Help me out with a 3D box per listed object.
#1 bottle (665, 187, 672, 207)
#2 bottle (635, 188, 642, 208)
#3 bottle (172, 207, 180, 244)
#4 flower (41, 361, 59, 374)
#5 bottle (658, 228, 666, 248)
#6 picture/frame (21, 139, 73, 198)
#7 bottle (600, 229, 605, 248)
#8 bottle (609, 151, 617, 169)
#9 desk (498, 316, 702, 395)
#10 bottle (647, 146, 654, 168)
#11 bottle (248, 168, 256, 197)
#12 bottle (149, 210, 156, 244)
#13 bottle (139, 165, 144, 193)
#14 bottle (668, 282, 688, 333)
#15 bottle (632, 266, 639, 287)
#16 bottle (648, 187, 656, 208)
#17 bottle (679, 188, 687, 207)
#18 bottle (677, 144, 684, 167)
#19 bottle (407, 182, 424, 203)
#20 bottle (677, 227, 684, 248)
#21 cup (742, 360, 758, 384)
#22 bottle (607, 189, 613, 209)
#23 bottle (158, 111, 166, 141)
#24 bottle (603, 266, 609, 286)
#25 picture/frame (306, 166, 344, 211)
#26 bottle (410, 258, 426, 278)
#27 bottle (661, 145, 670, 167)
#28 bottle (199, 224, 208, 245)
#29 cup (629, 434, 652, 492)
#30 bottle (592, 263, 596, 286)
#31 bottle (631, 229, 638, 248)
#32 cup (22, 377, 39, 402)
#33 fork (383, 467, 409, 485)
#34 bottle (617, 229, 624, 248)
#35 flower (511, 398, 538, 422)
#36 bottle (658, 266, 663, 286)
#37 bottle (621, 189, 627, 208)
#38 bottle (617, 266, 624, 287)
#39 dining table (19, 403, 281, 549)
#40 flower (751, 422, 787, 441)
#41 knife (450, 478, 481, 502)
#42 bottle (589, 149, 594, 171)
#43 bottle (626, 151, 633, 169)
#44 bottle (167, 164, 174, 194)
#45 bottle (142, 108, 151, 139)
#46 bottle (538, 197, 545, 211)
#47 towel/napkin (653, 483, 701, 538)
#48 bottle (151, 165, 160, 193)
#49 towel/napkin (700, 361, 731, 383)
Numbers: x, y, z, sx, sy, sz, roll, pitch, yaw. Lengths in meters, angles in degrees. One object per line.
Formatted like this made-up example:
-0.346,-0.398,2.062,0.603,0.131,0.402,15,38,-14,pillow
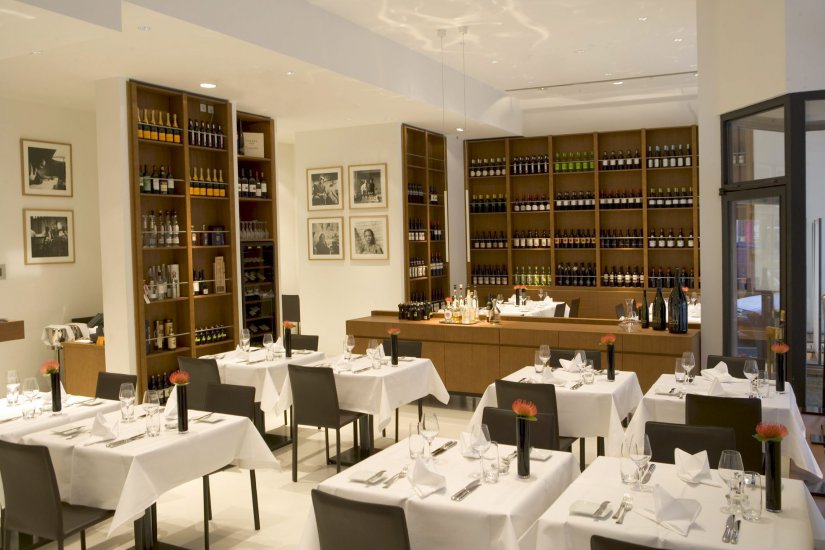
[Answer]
4.845,-1.478,11.529,0.101,0.348,0.204,-3,0,24,bottle
4.356,-1.473,11.700,0.133,0.356,0.234,-3,0,21,bottle
-3.210,-0.630,8.221,0.073,0.435,0.169,-3,0,-9,bottle
-3.235,0.810,5.378,0.133,0.095,0.140,3,-5,-10,flower
4.755,-0.703,11.618,0.211,0.348,0.184,-3,0,24,bottle
-5.342,-1.548,8.780,0.037,0.887,0.844,4,5,29,picture/frame
3.752,-0.728,11.989,0.118,0.362,0.134,-3,0,19,bottle
3.906,-2.233,11.846,0.124,0.347,0.175,-3,0,20,bottle
2.327,1.016,7.893,2.765,1.176,0.656,7,5,-39,desk
4.522,-2.243,11.576,0.150,0.407,0.123,-3,0,-1,bottle
-2.483,-1.369,9.412,0.046,0.362,0.140,-2,0,32,bottle
-3.437,-0.624,8.046,0.077,0.440,0.248,-3,0,-22,bottle
-3.500,-1.249,7.858,0.074,0.362,0.235,-3,0,-23,bottle
3.093,0.377,7.160,0.193,0.616,0.395,-3,0,32,bottle
4.329,0.018,11.799,0.132,0.393,0.225,-3,0,20,bottle
4.568,-1.490,11.631,0.165,0.352,0.147,-3,0,24,bottle
5.085,-1.477,11.462,0.142,0.332,0.181,-3,0,25,bottle
5.028,-2.234,11.426,0.122,0.404,0.069,-3,0,28,bottle
0.029,-1.453,10.775,0.205,0.420,0.406,-2,-3,27,bottle
5.071,-0.698,11.521,0.210,0.345,0.183,-3,0,22,bottle
2.952,0.831,5.284,0.105,0.209,0.175,-3,0,30,cup
3.879,-1.488,11.915,0.160,0.355,0.128,-3,0,20,bottle
-3.346,-1.975,8.059,0.086,0.432,0.319,-3,0,-23,bottle
3.815,0.004,12.011,0.137,0.402,0.161,-3,0,18,bottle
-1.515,-1.513,10.634,0.709,0.792,0.036,2,1,23,picture/frame
0.065,-0.125,10.776,0.131,0.330,0.557,-3,0,23,bottle
4.792,-2.244,11.492,0.143,0.399,0.115,-3,0,21,bottle
-3.002,-0.569,8.664,0.091,0.277,0.279,-1,3,-8,bottle
1.456,1.190,3.896,0.156,0.378,0.154,-4,10,1,cup
3.584,-0.020,12.029,0.111,0.482,0.245,-2,0,16,bottle
4.320,-0.723,11.797,0.115,0.349,0.098,-3,0,21,bottle
-3.384,1.010,5.362,0.115,0.220,0.219,-3,0,-34,cup
-0.110,1.339,4.054,0.051,0.043,0.237,6,8,18,fork
4.070,-0.737,11.881,0.100,0.326,0.103,-3,0,0,bottle
0.768,0.897,4.128,0.132,0.142,0.282,-3,0,16,flower
4.689,0.045,11.514,0.135,0.361,0.414,-3,0,25,bottle
4.102,-1.485,11.829,0.120,0.327,0.127,-3,0,0,bottle
4.067,0.011,11.901,0.193,0.382,0.217,-3,0,18,bottle
-2.176,1.297,4.735,1.288,0.381,1.234,-1,1,27,dining table
2.170,0.953,3.684,0.147,0.116,0.166,-3,0,31,flower
0.342,1.371,3.887,0.066,0.032,0.288,-2,6,25,knife
3.528,-2.259,12.022,0.106,0.366,0.120,-2,0,36,bottle
4.196,-2.231,11.748,0.121,0.309,0.121,-3,0,0,bottle
-3.262,-1.294,8.177,0.086,0.398,0.285,-3,0,-22,bottle
-3.465,-1.971,7.897,0.077,0.402,0.233,-3,0,-23,bottle
2.639,-1.417,12.320,0.167,0.340,0.175,0,7,0,bottle
1.569,1.352,3.609,0.215,0.264,0.322,-3,0,39,towel/napkin
-3.365,-1.217,7.951,0.058,0.318,0.133,-2,0,15,bottle
2.802,0.900,5.590,0.196,0.072,0.195,-1,3,45,towel/napkin
